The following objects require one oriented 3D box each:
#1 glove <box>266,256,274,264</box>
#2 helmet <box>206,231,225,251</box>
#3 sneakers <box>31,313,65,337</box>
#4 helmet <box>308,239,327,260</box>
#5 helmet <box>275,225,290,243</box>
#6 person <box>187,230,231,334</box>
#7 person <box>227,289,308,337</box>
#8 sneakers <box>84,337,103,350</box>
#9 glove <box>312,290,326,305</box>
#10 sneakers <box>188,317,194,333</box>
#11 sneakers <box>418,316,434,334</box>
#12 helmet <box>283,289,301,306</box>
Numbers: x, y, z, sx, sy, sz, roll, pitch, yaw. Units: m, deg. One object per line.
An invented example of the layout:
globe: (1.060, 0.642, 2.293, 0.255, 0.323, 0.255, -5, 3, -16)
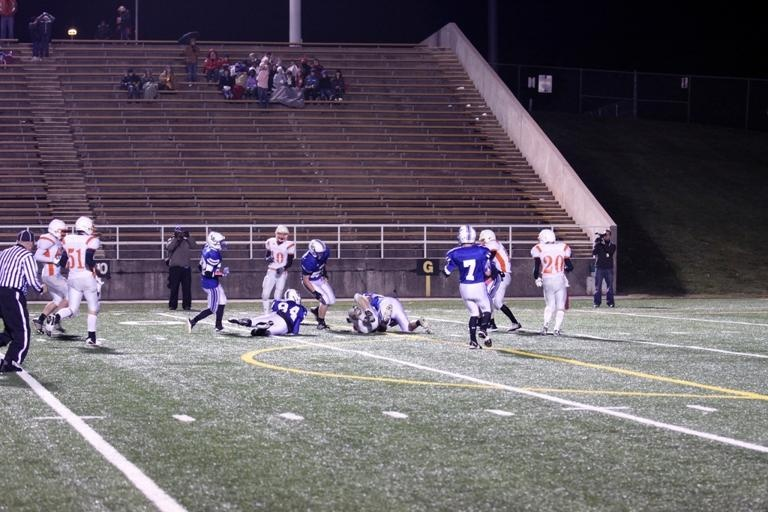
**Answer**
glove: (-3.134, 0.099, 31.397, 0.196, 0.278, 0.347, 0, 14, 1)
helmet: (-4.069, -0.346, 28.028, 0.502, 0.424, 0.436, -6, 16, -21)
sneakers: (-7.926, 1.636, 27.289, 0.282, 0.200, 0.618, -34, -49, 20)
helmet: (-1.645, -0.179, 28.745, 0.480, 0.523, 0.475, -7, 16, -25)
helmet: (-2.829, -0.645, 31.765, 0.303, 0.444, 0.561, 1, 14, 4)
person: (-4.196, 0.688, 27.869, 0.879, 2.408, 1.267, 1, 15, 6)
person: (-2.507, 1.408, 27.708, 0.944, 0.733, 1.895, 2, 5, 24)
sneakers: (-6.475, 1.945, 25.846, 0.237, 0.167, 0.421, 2, -4, -41)
glove: (-1.667, 1.007, 28.772, 0.238, 0.357, 0.430, -5, 15, -19)
sneakers: (-4.656, 1.608, 27.753, 0.210, 0.164, 0.463, -10, -22, -12)
sneakers: (0.950, 1.659, 27.856, 0.248, 0.186, 0.520, -3, -30, 15)
helmet: (-2.293, 0.959, 27.762, 0.366, 0.391, 0.399, 0, -14, 14)
